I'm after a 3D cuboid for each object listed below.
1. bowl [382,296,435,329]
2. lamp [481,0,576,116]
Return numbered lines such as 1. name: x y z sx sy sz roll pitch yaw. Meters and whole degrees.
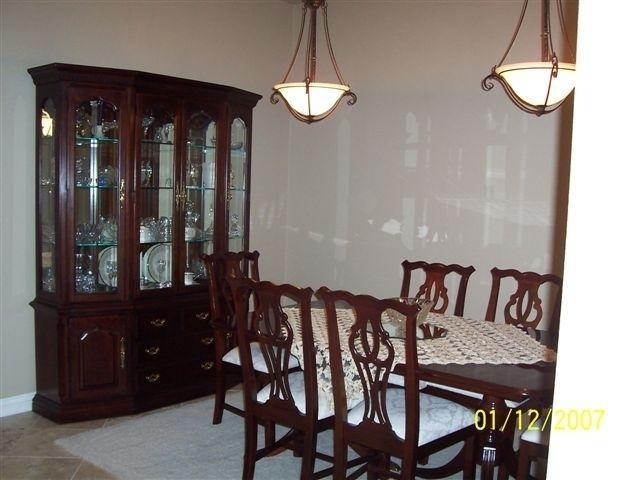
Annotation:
1. bowl: 0.456 0.373 2.765 0.220 0.147 0.225 1 9 0
2. lamp: 1.199 -1.058 2.895 0.376 0.782 1.075 3 7 25
